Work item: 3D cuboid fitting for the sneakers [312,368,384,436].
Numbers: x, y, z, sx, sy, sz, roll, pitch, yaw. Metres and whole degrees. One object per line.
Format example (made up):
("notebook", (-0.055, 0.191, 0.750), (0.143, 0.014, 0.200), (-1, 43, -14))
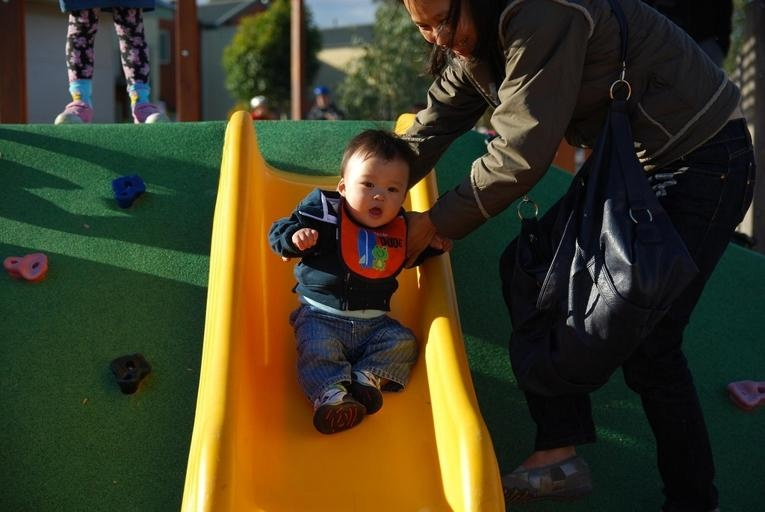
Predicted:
("sneakers", (-0.138, 0.598, 3.078), (0.144, 0.172, 0.342), (7, 10, 29))

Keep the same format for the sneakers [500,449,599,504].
("sneakers", (0.682, 0.929, 3.127), (0.412, 0.204, 0.162), (1, -9, 2))

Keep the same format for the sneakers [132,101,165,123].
("sneakers", (-1.460, -0.884, 4.593), (0.179, 0.114, 0.247), (-1, 5, -17))

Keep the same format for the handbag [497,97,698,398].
("handbag", (0.842, -0.009, 2.895), (0.701, 1.138, 0.395), (11, 20, 28))

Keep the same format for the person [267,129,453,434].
("person", (-0.140, 0.020, 3.472), (0.979, 1.579, 1.029), (-2, 10, -16))

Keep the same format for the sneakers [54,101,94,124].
("sneakers", (-1.925, -0.889, 4.638), (0.125, 0.164, 0.371), (3, 13, 9))
